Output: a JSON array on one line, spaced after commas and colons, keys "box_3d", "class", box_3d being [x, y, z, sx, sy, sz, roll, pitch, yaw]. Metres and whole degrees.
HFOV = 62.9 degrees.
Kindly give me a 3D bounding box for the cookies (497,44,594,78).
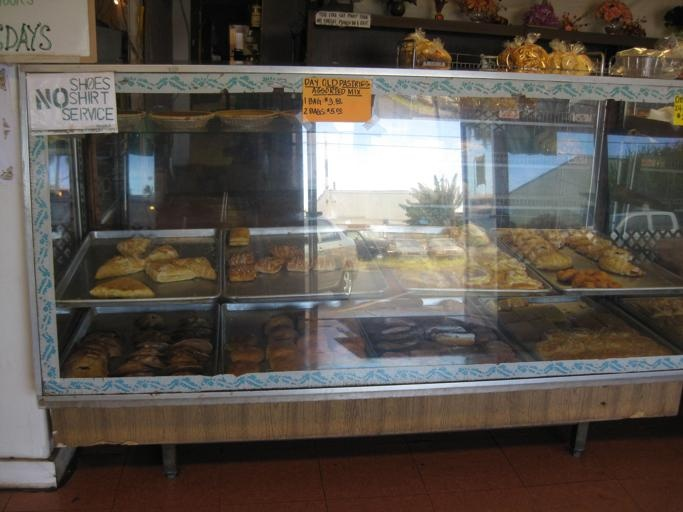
[{"box_3d": [0.846, -0.811, 2.284, 0.390, 0.136, 0.231, 0, 19, 10], "class": "cookies"}]
